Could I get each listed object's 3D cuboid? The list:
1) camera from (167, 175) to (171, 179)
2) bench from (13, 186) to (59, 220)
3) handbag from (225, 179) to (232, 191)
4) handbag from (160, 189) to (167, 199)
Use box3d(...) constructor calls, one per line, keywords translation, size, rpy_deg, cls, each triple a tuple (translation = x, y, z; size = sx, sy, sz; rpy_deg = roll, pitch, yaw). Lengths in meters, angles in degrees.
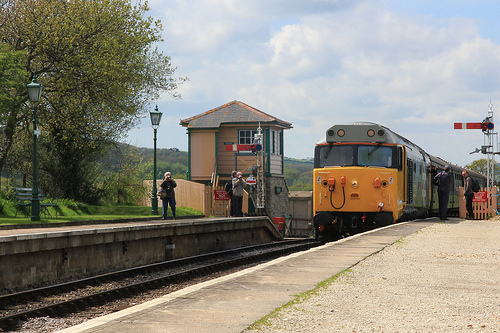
box3d(translation=(-3.546, 0.456, 27.612), size=(0.142, 0.103, 0.234), rpy_deg=(-3, 0, -4), cls="camera")
box3d(translation=(-9.742, 1.684, 29.108), size=(1.807, 1.150, 0.769), rpy_deg=(5, -2, 9), cls="bench")
box3d(translation=(-1.116, 0.979, 32.862), size=(0.359, 0.635, 0.668), rpy_deg=(1, -4, 11), cls="handbag")
box3d(translation=(-3.848, 1.212, 28.000), size=(0.299, 0.438, 0.256), rpy_deg=(0, 3, -4), cls="handbag")
